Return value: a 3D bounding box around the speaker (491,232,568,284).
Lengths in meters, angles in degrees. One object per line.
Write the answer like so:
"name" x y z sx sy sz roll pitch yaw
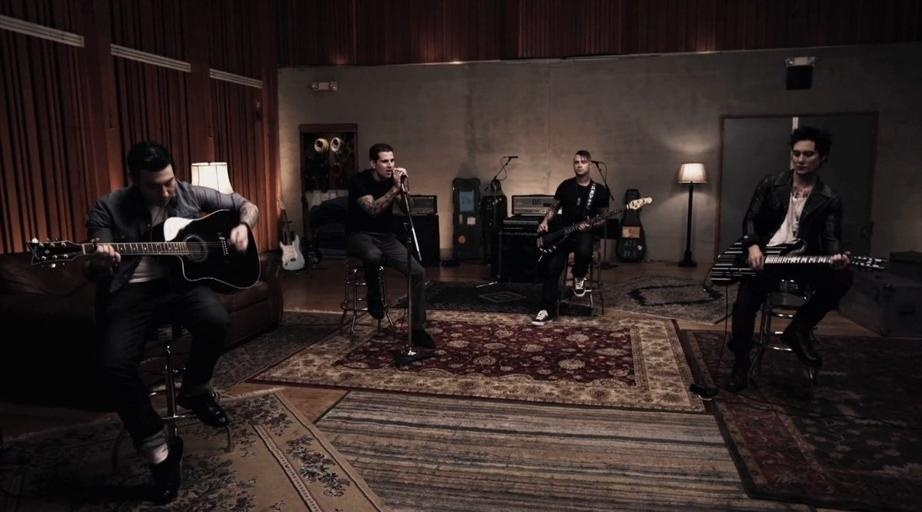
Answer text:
"speaker" 1.097 0.008 9.795 1.072 0.959 0.743 2 13 3

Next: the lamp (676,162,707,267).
"lamp" 4.119 -0.746 10.961 0.516 1.816 0.784 4 16 19

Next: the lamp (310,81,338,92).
"lamp" -2.698 -3.312 11.890 0.458 0.216 0.115 1 5 5

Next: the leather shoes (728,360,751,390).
"leather shoes" 2.907 1.261 6.319 0.148 0.191 0.481 6 3 26

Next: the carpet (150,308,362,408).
"carpet" -2.266 1.096 7.236 0.713 0.833 2.253 -3 12 17

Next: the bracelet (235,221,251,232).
"bracelet" -2.036 -0.270 5.661 0.089 0.085 0.089 -9 -28 5

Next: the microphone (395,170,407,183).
"microphone" -0.641 -0.866 6.698 0.141 0.123 0.148 -8 16 -27
